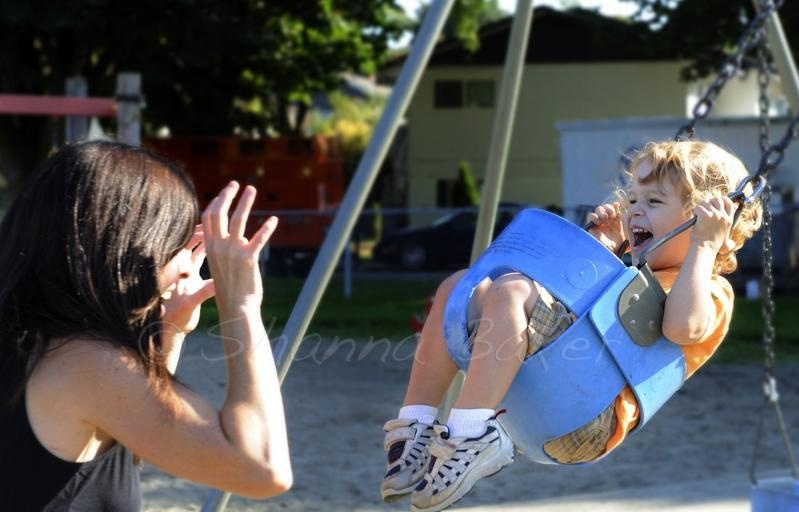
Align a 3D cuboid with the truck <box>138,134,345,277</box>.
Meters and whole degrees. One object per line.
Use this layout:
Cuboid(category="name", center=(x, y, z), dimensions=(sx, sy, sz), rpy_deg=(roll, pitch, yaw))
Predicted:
Cuboid(category="truck", center=(-1.061, -0.380, 12.850), dimensions=(1.179, 1.161, 0.427), rpy_deg=(1, -6, 13))
